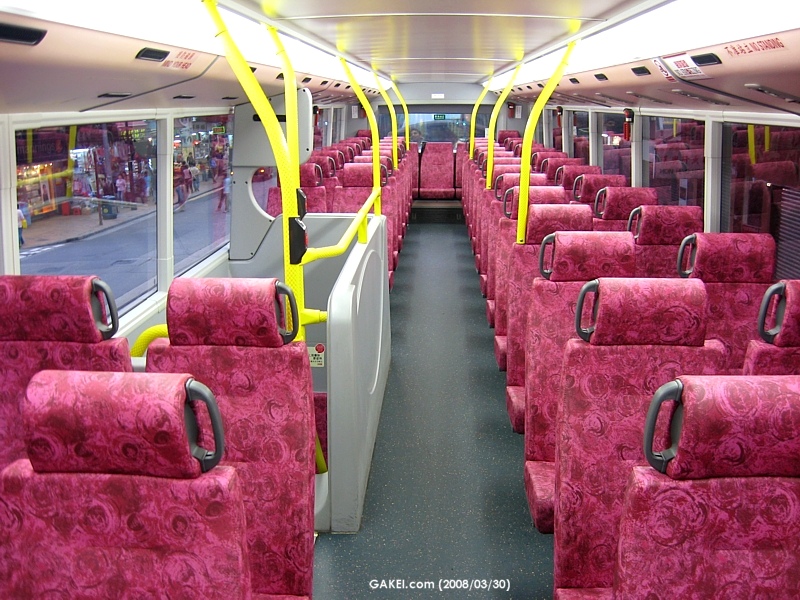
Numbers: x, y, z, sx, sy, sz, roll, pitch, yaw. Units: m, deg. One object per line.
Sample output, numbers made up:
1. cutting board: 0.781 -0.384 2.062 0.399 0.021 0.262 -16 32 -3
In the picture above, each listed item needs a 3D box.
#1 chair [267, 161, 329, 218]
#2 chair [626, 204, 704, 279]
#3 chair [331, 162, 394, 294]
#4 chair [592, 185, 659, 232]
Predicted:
1. chair: -1.161 -1.315 6.963 0.903 0.610 0.451 -16 20 -41
2. chair: 1.938 -0.448 4.473 0.657 0.708 0.540 1 14 8
3. chair: -0.473 -0.957 7.896 0.856 1.741 1.076 -2 15 -2
4. chair: 2.085 -0.889 5.531 0.591 0.646 0.586 1 12 3
